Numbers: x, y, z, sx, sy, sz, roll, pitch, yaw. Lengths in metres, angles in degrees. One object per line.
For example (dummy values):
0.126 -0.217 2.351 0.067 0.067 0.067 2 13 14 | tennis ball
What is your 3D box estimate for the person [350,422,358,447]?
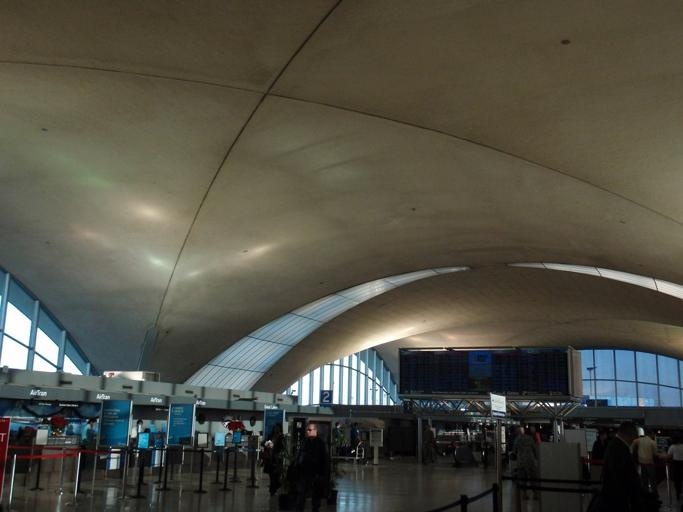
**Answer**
0.818 11.458 33.869 0.604 1.536 0.415 -6 -21 15 | person
